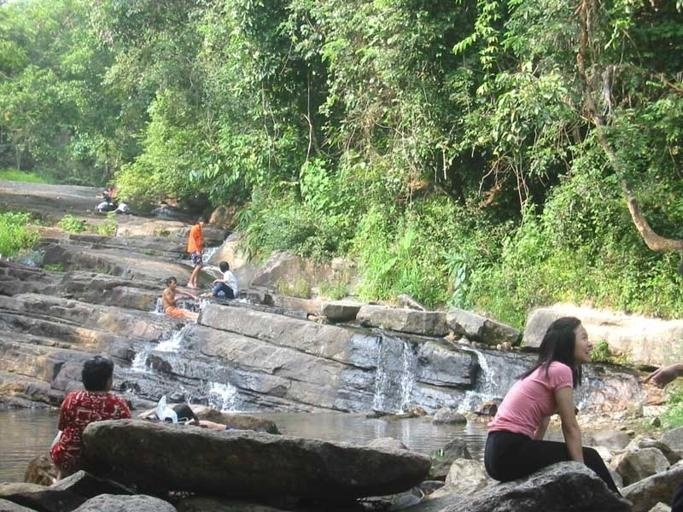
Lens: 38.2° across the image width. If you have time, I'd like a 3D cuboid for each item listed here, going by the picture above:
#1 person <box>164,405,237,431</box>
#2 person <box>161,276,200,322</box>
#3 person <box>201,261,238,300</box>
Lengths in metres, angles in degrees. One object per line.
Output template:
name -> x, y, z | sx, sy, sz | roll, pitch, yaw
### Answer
person -> -2.946, 3.186, 19.687 | 1.091, 0.477, 0.525 | 7, -1, 11
person -> -4.347, 1.239, 27.266 | 1.213, 1.155, 0.730 | 9, 7, -12
person -> -3.552, 0.733, 29.095 | 0.937, 1.208, 0.831 | 6, -2, -20
